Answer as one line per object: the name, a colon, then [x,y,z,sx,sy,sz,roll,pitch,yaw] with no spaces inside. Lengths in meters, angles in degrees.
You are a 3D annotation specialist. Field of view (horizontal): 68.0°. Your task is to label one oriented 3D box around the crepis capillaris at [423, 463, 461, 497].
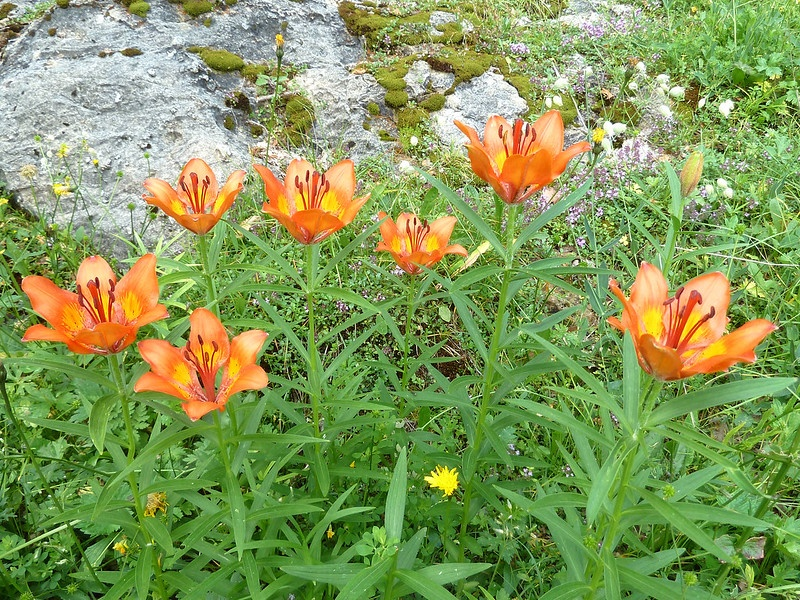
crepis capillaris: [0.199,0.777,2.604,0.155,0.063,0.164,-24,49,14]
